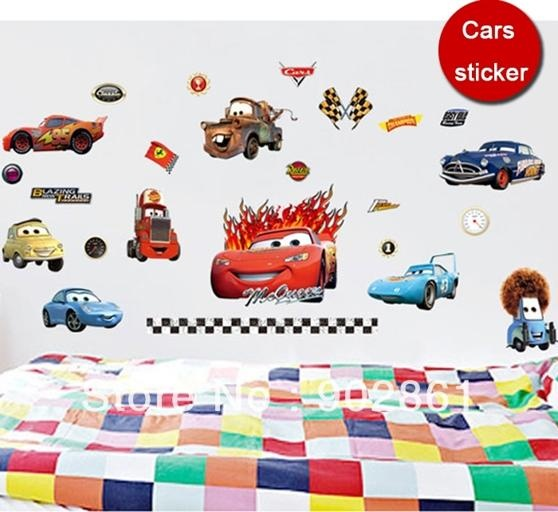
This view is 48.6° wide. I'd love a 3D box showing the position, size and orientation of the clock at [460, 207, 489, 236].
[{"bbox_3d":[1.261,-0.222,3.963,0.182,0.155,0.072,5,-21,-6],"label":"clock"}]
